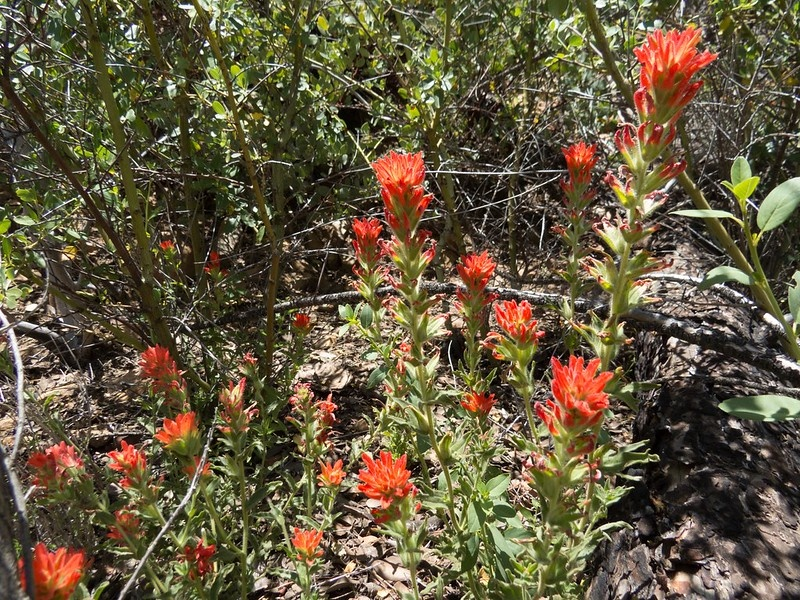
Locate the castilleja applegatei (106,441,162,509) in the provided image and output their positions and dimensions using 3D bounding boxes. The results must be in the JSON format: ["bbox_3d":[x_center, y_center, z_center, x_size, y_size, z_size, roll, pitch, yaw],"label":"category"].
[{"bbox_3d":[-1.027,0.642,2.379,0.113,0.285,0.187,-23,19,-29],"label":"castilleja applegatei"}]

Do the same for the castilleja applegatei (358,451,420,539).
[{"bbox_3d":[-0.042,0.672,2.254,0.181,0.356,0.201,-13,17,1],"label":"castilleja applegatei"}]
